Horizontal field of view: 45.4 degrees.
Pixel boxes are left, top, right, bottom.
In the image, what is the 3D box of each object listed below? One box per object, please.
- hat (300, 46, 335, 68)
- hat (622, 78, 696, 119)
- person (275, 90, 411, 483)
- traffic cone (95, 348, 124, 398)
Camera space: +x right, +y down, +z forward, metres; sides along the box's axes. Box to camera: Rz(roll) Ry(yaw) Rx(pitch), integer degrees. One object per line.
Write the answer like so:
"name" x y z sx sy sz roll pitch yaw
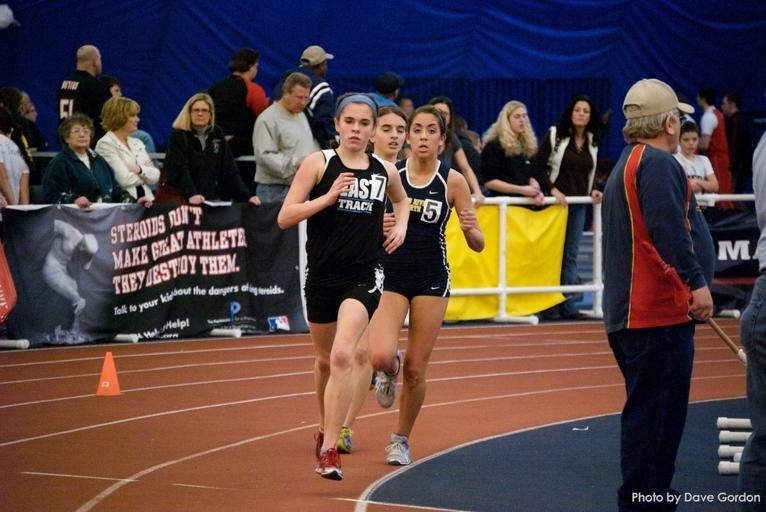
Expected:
"hat" -1.053 -3.087 13.995 0.353 0.328 0.554 0 8 -2
"hat" 2.190 -1.257 7.235 0.532 0.292 0.328 -5 10 -10
"person" -0.384 0.228 7.935 0.893 3.282 1.472 2 8 17
"traffic cone" -3.125 1.265 10.384 0.259 0.478 0.783 -2 8 -17
